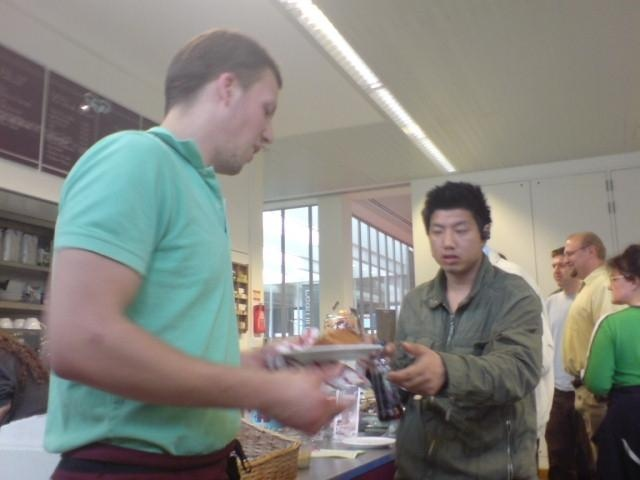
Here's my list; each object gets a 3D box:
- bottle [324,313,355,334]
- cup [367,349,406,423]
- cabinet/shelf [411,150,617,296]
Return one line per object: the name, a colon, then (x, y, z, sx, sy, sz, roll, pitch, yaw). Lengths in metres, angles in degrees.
bottle: (0.062, 0.278, 1.571, 0.075, 0.074, 0.057, -3, -2, -41)
cup: (0.212, 0.495, 1.549, 0.114, 0.232, 0.496, -3, -13, 8)
cabinet/shelf: (1.962, -0.236, 4.322, 1.431, 1.483, 0.494, -4, -10, 20)
